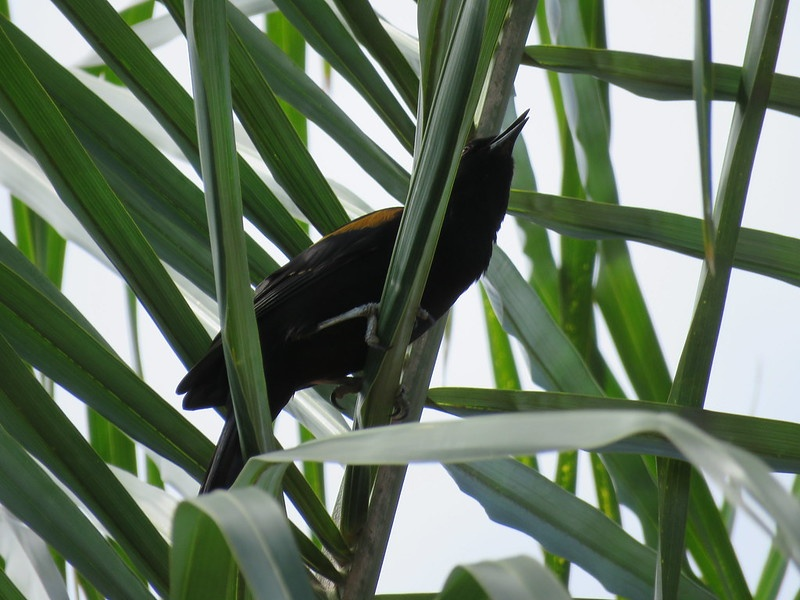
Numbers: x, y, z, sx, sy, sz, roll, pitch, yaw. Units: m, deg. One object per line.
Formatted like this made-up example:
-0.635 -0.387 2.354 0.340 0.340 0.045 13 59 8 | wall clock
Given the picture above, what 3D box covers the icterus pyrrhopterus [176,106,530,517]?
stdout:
-0.112 0.008 1.963 0.575 0.307 0.211 -33 -50 11 | icterus pyrrhopterus
